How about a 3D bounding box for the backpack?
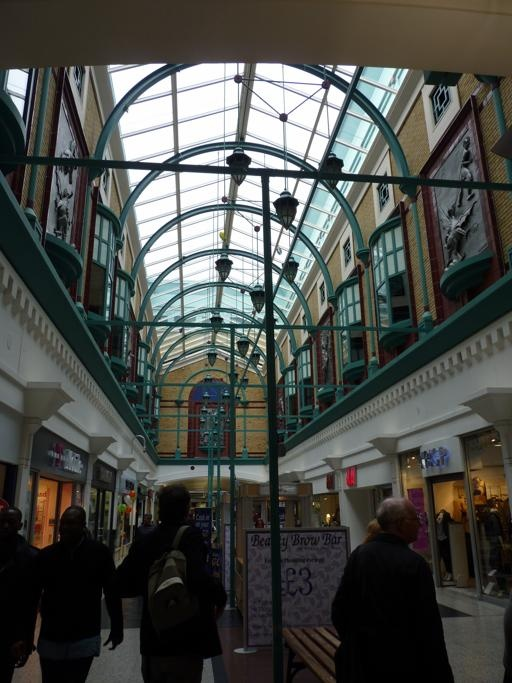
[{"bbox_3d":[-0.361,1.061,1.966,0.187,0.301,0.179,0,-18,-12],"label":"backpack"}]
